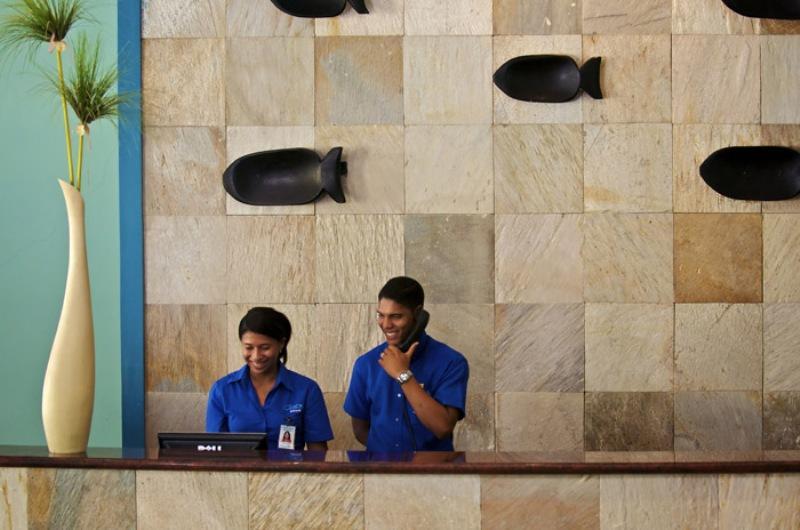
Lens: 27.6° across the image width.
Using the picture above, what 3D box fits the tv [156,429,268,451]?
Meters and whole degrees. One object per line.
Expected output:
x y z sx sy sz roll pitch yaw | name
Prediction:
-1.262 1.168 10.920 0.723 0.108 0.104 3 -2 -2 | tv

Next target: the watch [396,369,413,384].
0.030 0.751 11.131 0.100 0.083 0.104 -15 -1 15 | watch

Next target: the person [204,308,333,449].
-0.915 0.829 11.610 0.864 1.067 0.517 0 -9 -6 | person

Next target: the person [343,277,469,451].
0.058 0.731 11.580 0.998 1.592 0.812 -1 -10 21 | person

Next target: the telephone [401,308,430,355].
0.120 0.455 11.337 0.196 0.291 0.158 -5 -17 44 | telephone
